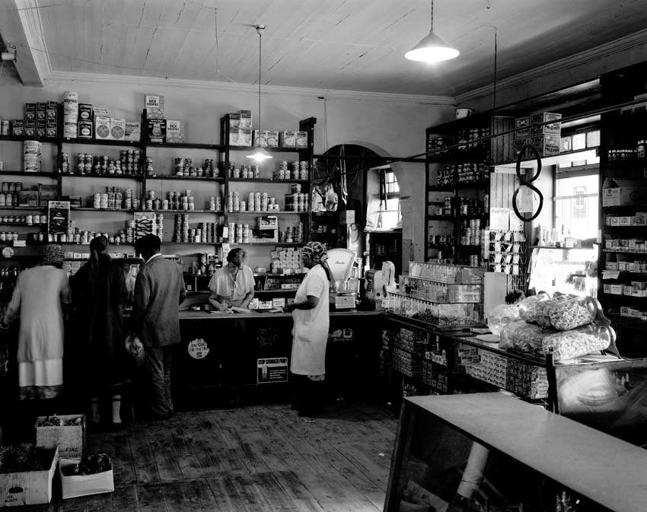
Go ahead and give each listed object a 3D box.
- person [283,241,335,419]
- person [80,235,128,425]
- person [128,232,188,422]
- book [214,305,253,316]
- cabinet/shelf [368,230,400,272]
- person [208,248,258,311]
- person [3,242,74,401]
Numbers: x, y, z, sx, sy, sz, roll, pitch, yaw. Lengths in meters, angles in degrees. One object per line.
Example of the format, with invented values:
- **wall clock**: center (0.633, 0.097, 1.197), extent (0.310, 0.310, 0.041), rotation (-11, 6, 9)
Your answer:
- **person**: center (-0.164, 0.713, 6.119), extent (0.474, 1.720, 0.546), rotation (0, 4, 0)
- **person**: center (-2.000, 0.700, 5.562), extent (0.369, 1.689, 0.295), rotation (0, 4, -3)
- **person**: center (-1.586, 0.678, 5.760), extent (0.446, 1.758, 0.241), rotation (-2, 4, -19)
- **book**: center (-0.952, 0.573, 6.373), extent (0.387, 0.045, 0.447), rotation (-1, 5, -9)
- **cabinet/shelf**: center (1.234, -0.169, 11.976), extent (0.547, 1.145, 0.758), rotation (0, -3, 7)
- **person**: center (-1.071, 0.269, 6.831), extent (0.442, 0.698, 0.810), rotation (0, 5, 3)
- **person**: center (-2.547, 0.676, 5.381), extent (0.541, 1.185, 0.269), rotation (-2, 5, -25)
